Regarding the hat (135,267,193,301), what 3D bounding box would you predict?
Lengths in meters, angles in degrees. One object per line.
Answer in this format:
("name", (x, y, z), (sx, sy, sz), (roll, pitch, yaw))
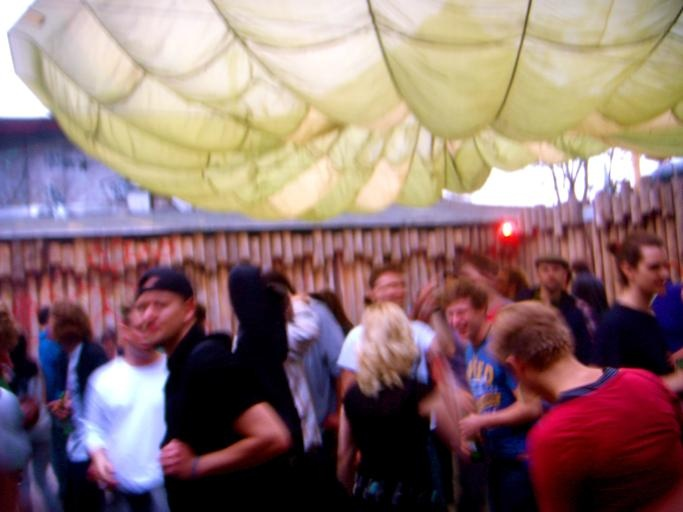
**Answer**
("hat", (-0.888, 0.152, 3.126), (0.183, 0.137, 0.187), (-25, -29, 32))
